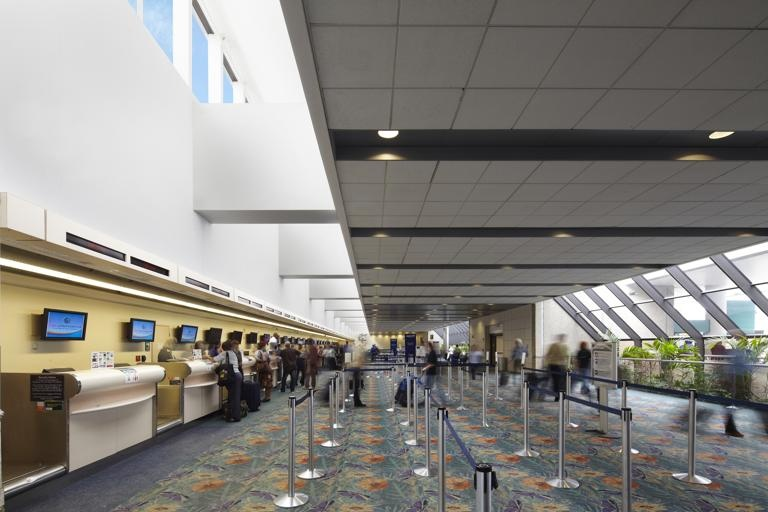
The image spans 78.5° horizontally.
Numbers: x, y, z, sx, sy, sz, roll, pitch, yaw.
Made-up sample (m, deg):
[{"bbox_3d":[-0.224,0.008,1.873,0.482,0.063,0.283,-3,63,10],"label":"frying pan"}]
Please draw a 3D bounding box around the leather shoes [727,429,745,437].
[{"bbox_3d":[6.931,3.501,9.258,0.315,0.077,0.306,-3,-13,14],"label":"leather shoes"}]

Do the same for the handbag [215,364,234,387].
[{"bbox_3d":[-3.772,2.804,11.169,0.494,0.491,0.229,-4,-16,19],"label":"handbag"}]

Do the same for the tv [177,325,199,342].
[{"bbox_3d":[-4.752,1.865,11.349,0.126,0.280,0.559,-13,-14,15],"label":"tv"}]
